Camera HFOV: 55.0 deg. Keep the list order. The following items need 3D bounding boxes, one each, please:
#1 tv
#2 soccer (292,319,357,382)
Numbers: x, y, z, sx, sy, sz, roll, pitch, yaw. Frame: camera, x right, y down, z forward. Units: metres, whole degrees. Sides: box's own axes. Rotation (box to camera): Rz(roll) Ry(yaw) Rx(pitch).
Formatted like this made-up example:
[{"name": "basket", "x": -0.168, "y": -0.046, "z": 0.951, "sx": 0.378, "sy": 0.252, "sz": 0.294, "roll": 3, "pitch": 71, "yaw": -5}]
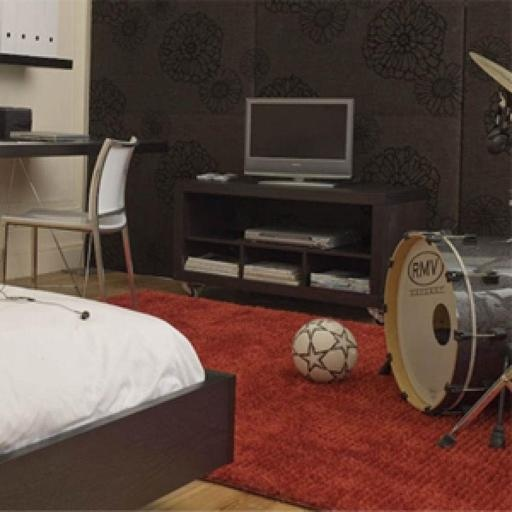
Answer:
[{"name": "tv", "x": 0.281, "y": -0.713, "z": 3.044, "sx": 0.505, "sy": 0.415, "sz": 0.145, "roll": 5, "pitch": 14, "yaw": 22}, {"name": "soccer", "x": 0.263, "y": 0.360, "z": 1.961, "sx": 0.225, "sy": 0.251, "sz": 0.227, "roll": -2, "pitch": -9, "yaw": -2}]
